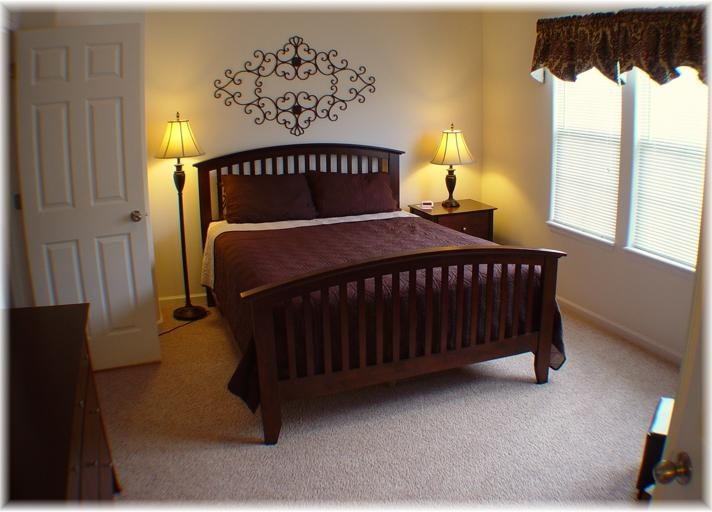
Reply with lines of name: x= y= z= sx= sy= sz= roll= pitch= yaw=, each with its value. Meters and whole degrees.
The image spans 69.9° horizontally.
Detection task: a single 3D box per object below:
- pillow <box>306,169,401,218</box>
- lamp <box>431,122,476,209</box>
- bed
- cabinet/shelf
pillow: x=-0.105 y=-0.647 z=5.087 sx=0.530 sy=0.306 sz=0.938 roll=-1 pitch=-15 yaw=5
lamp: x=0.994 y=-0.921 z=5.271 sx=0.417 sy=0.814 sz=0.420 roll=-9 pitch=22 yaw=-15
bed: x=0.058 y=-0.113 z=4.362 sx=2.230 sy=1.650 sz=2.834 roll=-6 pitch=15 yaw=-12
cabinet/shelf: x=-1.226 y=0.604 z=2.135 sx=0.255 sy=0.436 sz=0.858 roll=-10 pitch=33 yaw=-16
